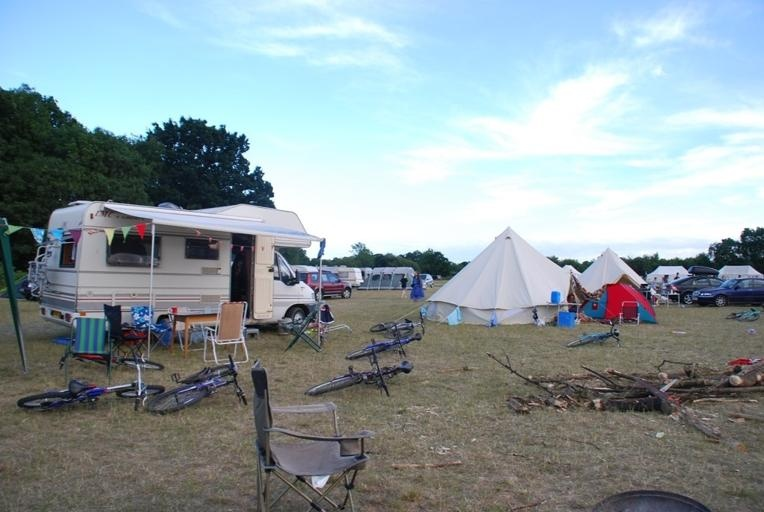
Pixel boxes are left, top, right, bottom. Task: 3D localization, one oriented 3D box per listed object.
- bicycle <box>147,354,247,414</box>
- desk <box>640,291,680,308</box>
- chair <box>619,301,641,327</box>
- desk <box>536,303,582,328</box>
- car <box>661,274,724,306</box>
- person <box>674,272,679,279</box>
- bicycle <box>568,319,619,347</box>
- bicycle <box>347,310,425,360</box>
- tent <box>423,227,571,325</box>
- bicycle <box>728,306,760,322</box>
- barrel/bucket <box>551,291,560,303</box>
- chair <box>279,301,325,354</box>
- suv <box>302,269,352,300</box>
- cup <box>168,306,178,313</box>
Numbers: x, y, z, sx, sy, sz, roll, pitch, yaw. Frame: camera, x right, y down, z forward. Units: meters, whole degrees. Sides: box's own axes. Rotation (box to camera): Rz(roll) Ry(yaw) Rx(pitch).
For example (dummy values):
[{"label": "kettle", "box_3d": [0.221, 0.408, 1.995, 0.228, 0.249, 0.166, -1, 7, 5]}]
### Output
[{"label": "bicycle", "box_3d": [-3.073, 2.245, 9.098, 0.961, 0.722, 1.534, -7, 1, 15]}, {"label": "desk", "box_3d": [12.393, 1.932, 23.844, 1.263, 0.599, 0.695, 5, 12, 13]}, {"label": "chair", "box_3d": [8.229, 1.906, 17.821, 0.549, 0.523, 0.836, -3, 38, 15]}, {"label": "desk", "box_3d": [5.691, 1.982, 17.316, 1.048, 0.608, 1.039, -3, -5, 35]}, {"label": "car", "box_3d": [15.172, 1.598, 26.055, 2.953, 0.894, 1.297, -4, 3, -7]}, {"label": "person", "box_3d": [27.355, 1.790, 49.706, 0.392, 0.445, 0.738, 3, -18, 0]}, {"label": "bicycle", "box_3d": [5.520, 2.094, 13.743, 1.155, 0.451, 0.997, -14, 3, -8]}, {"label": "bicycle", "box_3d": [0.273, 1.957, 12.324, 0.715, 0.642, 2.093, -4, 11, 37]}, {"label": "tent", "box_3d": [4.280, 0.725, 18.255, 4.113, 1.896, 4.097, 1, 3, 33]}, {"label": "bicycle", "box_3d": [12.724, 2.030, 18.419, 1.134, 0.317, 0.839, -3, 3, -19]}, {"label": "barrel/bucket", "box_3d": [5.615, 1.339, 17.363, 0.263, 0.358, 0.278, 0, 12, 0]}, {"label": "chair", "box_3d": [-2.123, 1.722, 13.182, 1.254, 1.417, 1.120, 3, -3, 2]}, {"label": "suv", "box_3d": [-2.767, 1.563, 28.602, 2.614, 1.100, 1.245, -2, 2, -42]}, {"label": "cup", "box_3d": [-4.888, 1.254, 12.478, 0.141, 0.174, 0.192, 4, -12, -27]}]
